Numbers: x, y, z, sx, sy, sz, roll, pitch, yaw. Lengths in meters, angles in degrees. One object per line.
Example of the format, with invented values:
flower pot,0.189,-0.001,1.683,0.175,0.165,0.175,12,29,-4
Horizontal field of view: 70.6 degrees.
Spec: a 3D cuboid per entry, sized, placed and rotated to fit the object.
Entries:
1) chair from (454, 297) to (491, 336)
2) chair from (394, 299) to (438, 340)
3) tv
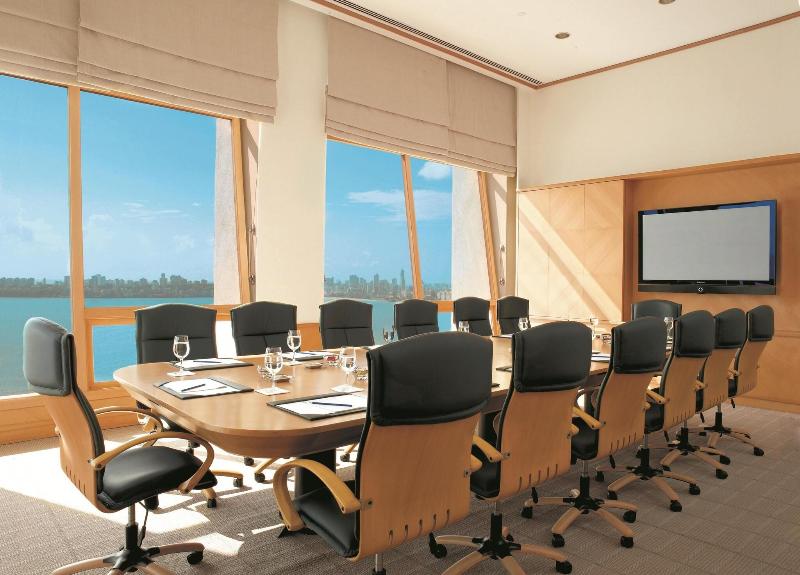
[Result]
chair,0.763,0.309,6.265,0.373,0.511,0.449,2,-2,-23
chair,0.153,0.316,5.742,0.368,0.489,0.410,1,0,-27
tv,3.985,-0.512,7.198,1.297,0.904,0.104,1,0,36
